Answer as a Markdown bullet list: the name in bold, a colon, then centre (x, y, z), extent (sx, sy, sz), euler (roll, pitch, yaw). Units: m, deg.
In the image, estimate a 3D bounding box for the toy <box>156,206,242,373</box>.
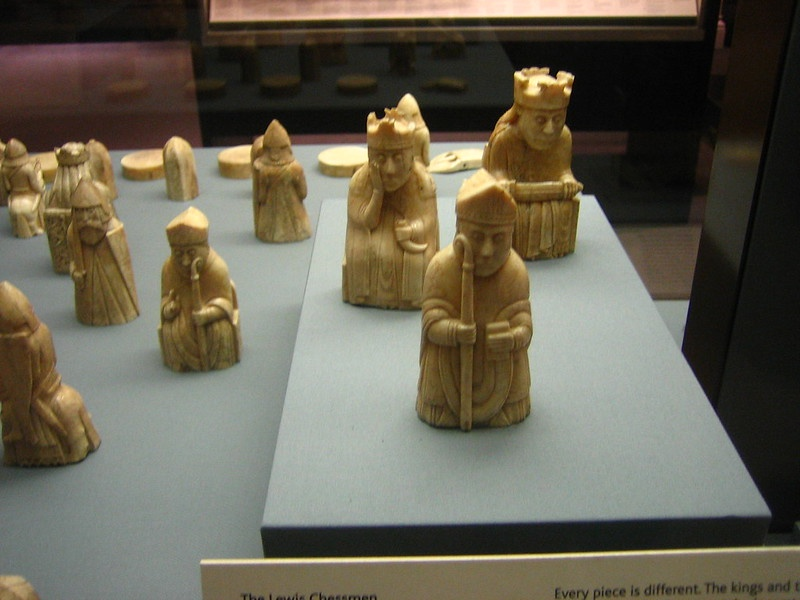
- **toy**: centre (-1.242, -0.037, 4.440), extent (0.496, 0.963, 0.287), euler (7, 28, 17)
